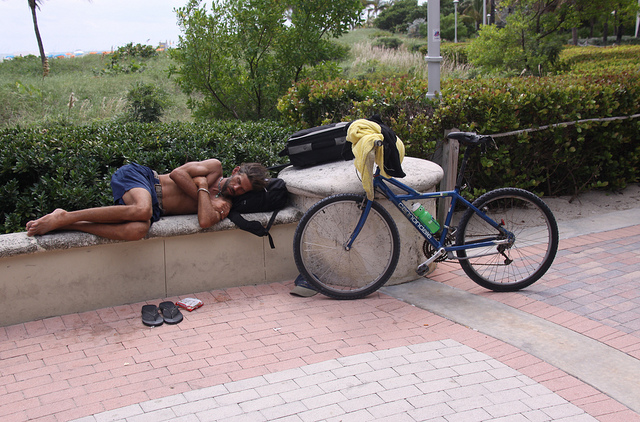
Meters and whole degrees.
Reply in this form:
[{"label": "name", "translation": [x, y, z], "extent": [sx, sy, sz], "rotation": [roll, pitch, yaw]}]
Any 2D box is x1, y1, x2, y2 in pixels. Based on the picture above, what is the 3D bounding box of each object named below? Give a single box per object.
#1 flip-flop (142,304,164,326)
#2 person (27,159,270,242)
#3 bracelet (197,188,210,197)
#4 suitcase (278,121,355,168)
[{"label": "flip-flop", "translation": [-1.784, 1.125, 5.292], "extent": [0.207, 0.111, 0.329], "rotation": [-6, 16, -22]}, {"label": "person", "translation": [-1.824, -0.106, 5.579], "extent": [1.491, 0.449, 1.286], "rotation": [5, 14, 21]}, {"label": "bracelet", "translation": [-1.321, -0.213, 5.699], "extent": [0.142, 0.083, 0.080], "rotation": [-11, 19, -35]}, {"label": "suitcase", "translation": [-0.027, -0.821, 6.224], "extent": [0.712, 0.273, 0.540], "rotation": [-15, 10, 2]}]
